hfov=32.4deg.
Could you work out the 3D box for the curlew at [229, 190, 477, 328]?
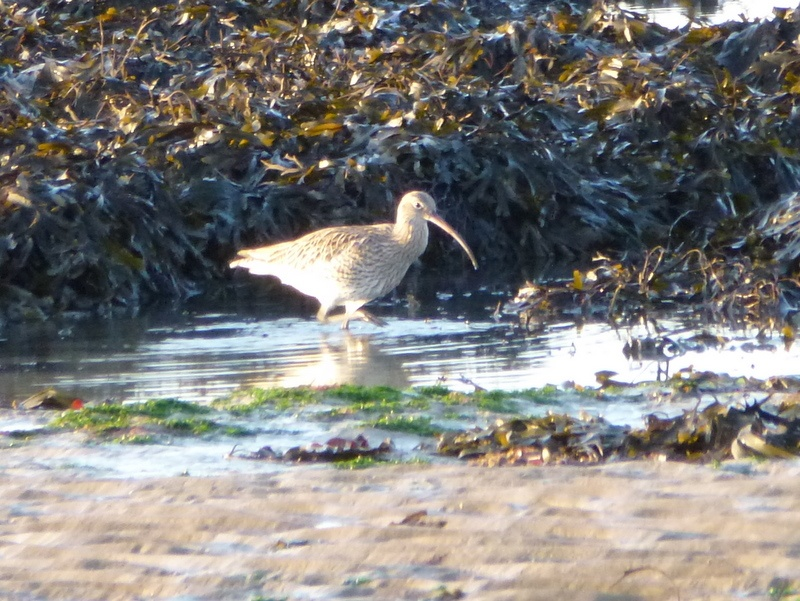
[{"bbox_3d":[-0.501,-0.380,12.337,2.227,1.083,0.729,1,4,19],"label":"curlew"}]
